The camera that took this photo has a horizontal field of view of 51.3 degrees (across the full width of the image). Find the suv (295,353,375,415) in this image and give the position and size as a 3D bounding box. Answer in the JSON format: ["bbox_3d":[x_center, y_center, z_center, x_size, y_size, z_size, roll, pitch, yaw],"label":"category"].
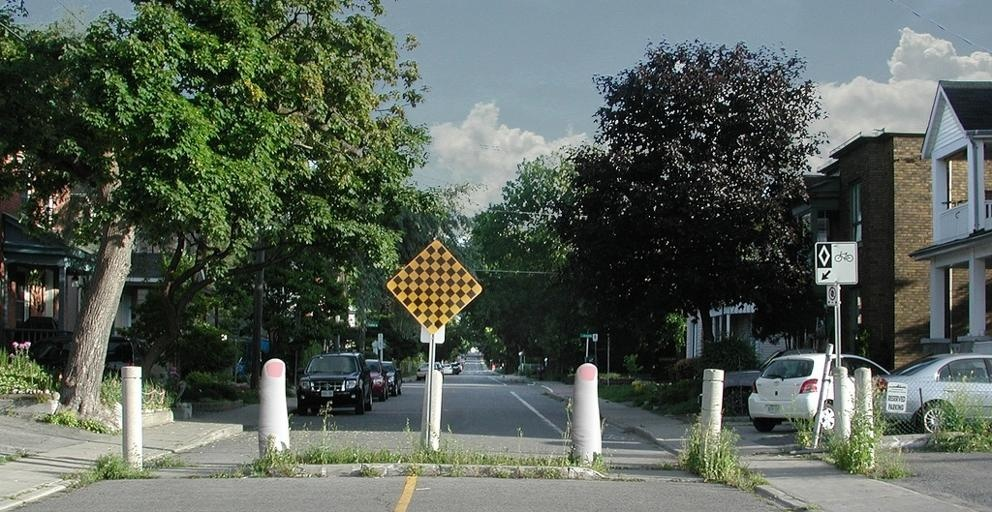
[{"bbox_3d":[-6.669,5.201,42.750,1.847,1.549,3.776,-1,-12,1],"label":"suv"}]

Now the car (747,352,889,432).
[{"bbox_3d":[11.289,4.629,36.740,4.646,2.095,2.632,-2,-1,-36],"label":"car"}]
